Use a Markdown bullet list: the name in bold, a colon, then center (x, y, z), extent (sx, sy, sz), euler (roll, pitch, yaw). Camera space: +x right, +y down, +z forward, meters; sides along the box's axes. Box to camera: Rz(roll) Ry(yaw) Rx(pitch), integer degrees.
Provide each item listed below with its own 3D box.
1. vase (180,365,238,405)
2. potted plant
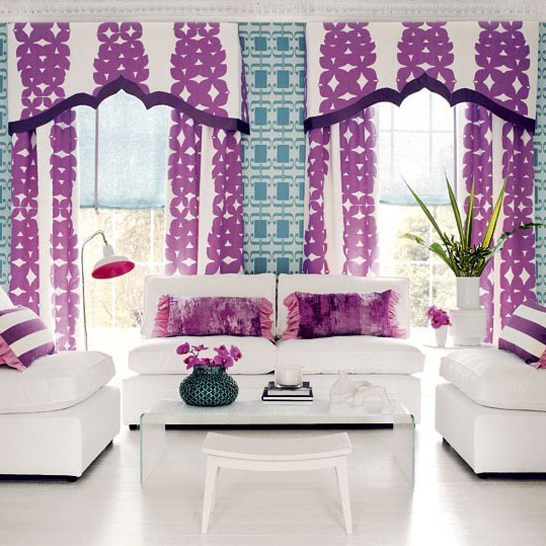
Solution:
- **vase**: center (-0.284, 0.505, 2.887), extent (0.169, 0.138, 0.187), euler (1, -2, 0)
- **potted plant**: center (1.094, -0.085, 4.460), extent (0.969, 1.388, 1.059), euler (0, -5, -4)
